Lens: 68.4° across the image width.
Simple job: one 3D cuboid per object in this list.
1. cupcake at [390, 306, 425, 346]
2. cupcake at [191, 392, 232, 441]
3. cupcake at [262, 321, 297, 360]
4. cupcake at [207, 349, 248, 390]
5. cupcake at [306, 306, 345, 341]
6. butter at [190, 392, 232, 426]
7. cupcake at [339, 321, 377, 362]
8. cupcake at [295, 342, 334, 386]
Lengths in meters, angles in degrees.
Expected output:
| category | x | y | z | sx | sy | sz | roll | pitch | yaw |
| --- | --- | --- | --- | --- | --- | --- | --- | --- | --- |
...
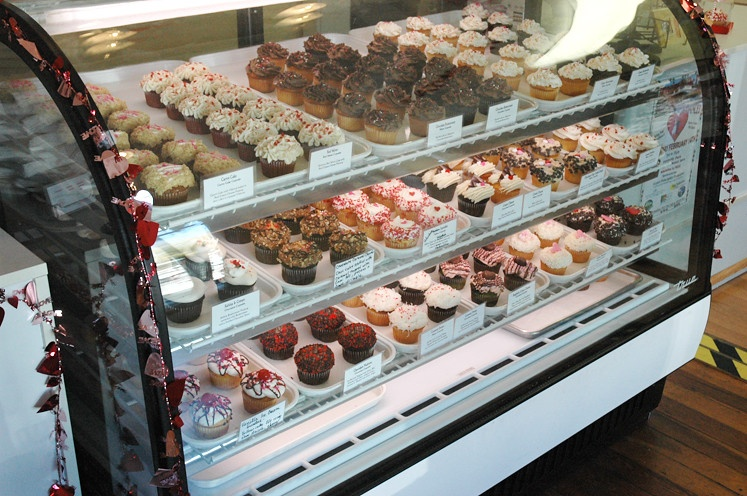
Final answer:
| category | x | y | z | sx | sy | sz | roll | pitch | yaw |
| --- | --- | --- | --- | --- | --- | --- | --- | --- | --- |
| cupcake | 0.190 | 0.430 | 3.024 | 0.220 | 0.134 | 0.193 | -9 | 16 | -42 |
| cupcake | -0.722 | 0.726 | 2.422 | 0.201 | 0.141 | 0.178 | 6 | 14 | 4 |
| cupcake | -0.468 | 0.487 | 2.841 | 0.211 | 0.137 | 0.220 | -4 | 6 | -39 |
| cupcake | -0.711 | 0.568 | 2.632 | 0.216 | 0.136 | 0.202 | 11 | 11 | 5 |
| cupcake | -0.256 | 0.395 | 2.913 | 0.224 | 0.124 | 0.203 | 2 | 24 | -2 |
| butter | -0.702 | 0.691 | 2.375 | 0.149 | 0.075 | 0.138 | 19 | 27 | 17 |
| cupcake | -0.122 | 0.516 | 2.915 | 0.248 | 0.163 | 0.240 | 1 | 6 | -10 |
| cupcake | -0.335 | 0.587 | 2.760 | 0.239 | 0.147 | 0.230 | 5 | 3 | -6 |
